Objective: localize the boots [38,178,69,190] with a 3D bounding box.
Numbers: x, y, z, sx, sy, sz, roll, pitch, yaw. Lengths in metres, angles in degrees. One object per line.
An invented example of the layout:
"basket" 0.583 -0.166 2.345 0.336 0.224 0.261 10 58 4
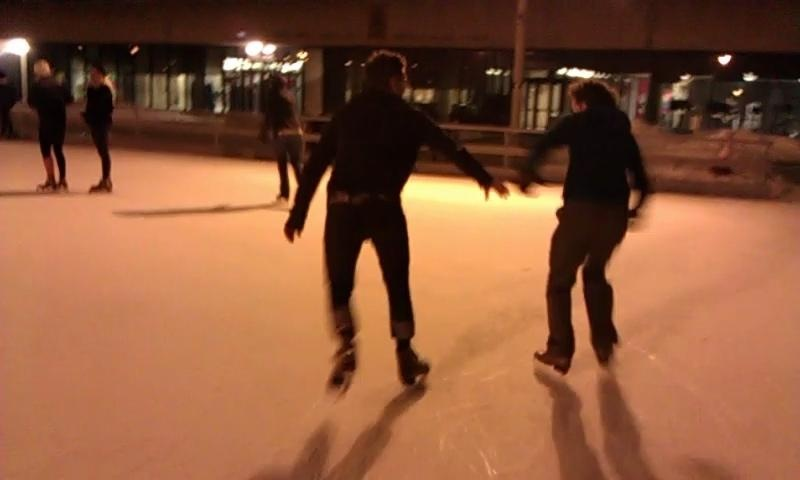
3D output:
"boots" -6.911 -1.110 11.474 0.530 0.308 0.170 10 24 -10

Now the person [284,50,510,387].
"person" -0.201 -0.119 4.736 1.444 2.750 0.558 -2 16 -11

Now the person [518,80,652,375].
"person" 1.666 -0.113 5.169 1.177 2.560 0.646 -7 18 -27

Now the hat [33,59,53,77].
"hat" -6.754 -3.264 10.900 0.281 0.333 0.440 -8 18 -30

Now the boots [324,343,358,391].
"boots" -0.465 1.080 4.882 0.260 0.405 0.102 13 -3 5

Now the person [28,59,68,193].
"person" -6.723 -2.189 11.076 0.714 2.487 0.474 -3 17 -15
